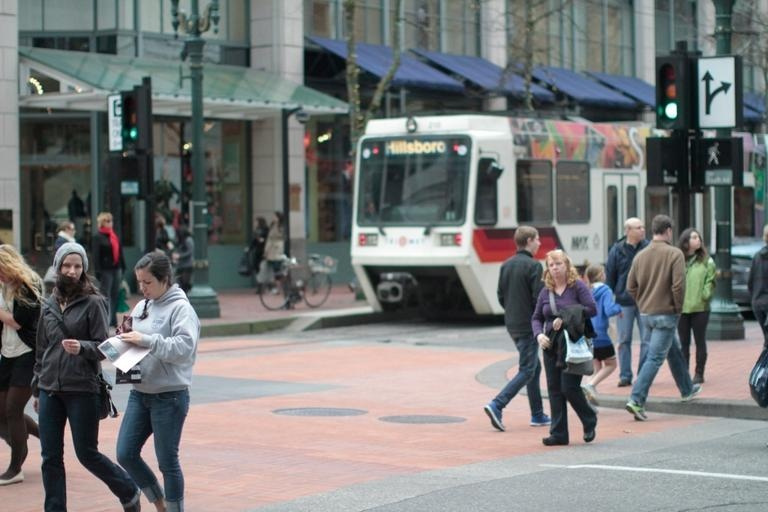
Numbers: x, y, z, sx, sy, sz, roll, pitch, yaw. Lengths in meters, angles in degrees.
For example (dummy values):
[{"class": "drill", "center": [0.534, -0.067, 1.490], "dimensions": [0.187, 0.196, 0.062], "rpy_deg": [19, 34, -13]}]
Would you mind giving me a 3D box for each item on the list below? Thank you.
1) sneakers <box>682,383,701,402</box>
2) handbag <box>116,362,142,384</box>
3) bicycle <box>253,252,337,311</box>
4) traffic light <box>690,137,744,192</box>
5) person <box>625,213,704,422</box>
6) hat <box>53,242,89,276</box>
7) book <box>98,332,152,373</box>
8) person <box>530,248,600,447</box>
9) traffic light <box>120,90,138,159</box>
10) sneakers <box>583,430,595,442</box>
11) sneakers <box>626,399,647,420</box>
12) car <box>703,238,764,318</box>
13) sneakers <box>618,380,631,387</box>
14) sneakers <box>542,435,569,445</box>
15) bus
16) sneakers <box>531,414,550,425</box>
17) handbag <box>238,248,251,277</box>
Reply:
[{"class": "sneakers", "center": [4.049, 1.768, 16.357], "dimensions": [0.129, 0.163, 0.389], "rpy_deg": [-1, 18, 46]}, {"class": "handbag", "center": [-2.386, 1.080, 11.710], "dimensions": [0.206, 0.204, 0.073], "rpy_deg": [3, 11, 1]}, {"class": "bicycle", "center": [-1.837, 0.554, 26.826], "dimensions": [1.822, 1.079, 0.806], "rpy_deg": [-3, 3, -28]}, {"class": "traffic light", "center": [4.906, -1.377, 18.453], "dimensions": [1.002, 0.857, 0.506], "rpy_deg": [-1, 1, 0]}, {"class": "person", "center": [3.537, 0.773, 16.060], "dimensions": [0.901, 2.560, 0.866], "rpy_deg": [-1, 3, 7]}, {"class": "hat", "center": [-3.086, 0.034, 12.417], "dimensions": [0.370, 0.354, 0.389], "rpy_deg": [-1, 3, -21]}, {"class": "book", "center": [-2.427, 0.900, 11.706], "dimensions": [0.378, 0.374, 0.150], "rpy_deg": [44, 1, 11]}, {"class": "person", "center": [2.128, 1.072, 14.739], "dimensions": [0.764, 2.282, 0.548], "rpy_deg": [-1, 3, 14]}, {"class": "traffic light", "center": [-4.276, -2.257, 21.029], "dimensions": [0.501, 1.001, 0.134], "rpy_deg": [1, 4, 45]}, {"class": "sneakers", "center": [2.425, 2.118, 14.837], "dimensions": [0.089, 0.157, 0.107], "rpy_deg": [18, 9, 38]}, {"class": "sneakers", "center": [3.218, 1.937, 15.900], "dimensions": [0.245, 0.290, 0.378], "rpy_deg": [-1, 3, 15]}, {"class": "car", "center": [7.616, 0.525, 26.127], "dimensions": [1.556, 1.469, 3.250], "rpy_deg": [-2, 5, 8]}, {"class": "sneakers", "center": [3.387, 1.775, 17.555], "dimensions": [0.161, 0.068, 0.074], "rpy_deg": [-8, 7, -9]}, {"class": "sneakers", "center": [2.029, 2.170, 14.789], "dimensions": [0.305, 0.127, 0.111], "rpy_deg": [5, -1, -3]}, {"class": "bus", "center": [3.958, -1.010, 28.386], "dimensions": [3.069, 4.125, 11.869], "rpy_deg": [2, 3, 37]}, {"class": "sneakers", "center": [1.981, 2.050, 15.795], "dimensions": [0.282, 0.127, 0.104], "rpy_deg": [-6, 9, -43]}, {"class": "handbag", "center": [-3.481, 0.171, 31.193], "dimensions": [0.322, 0.706, 0.702], "rpy_deg": [4, 1, 0]}]
